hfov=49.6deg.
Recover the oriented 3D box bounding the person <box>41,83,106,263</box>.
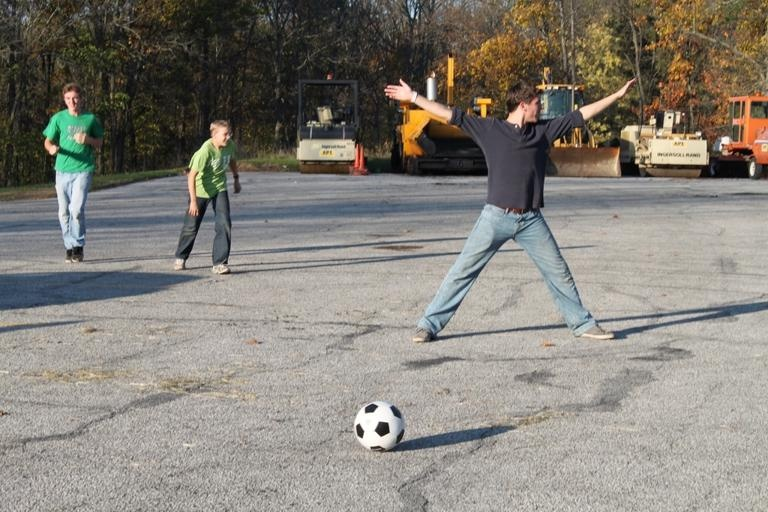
[{"bbox_3d":[-4.700,-1.220,12.441,0.796,2.609,0.860,2,4,23],"label":"person"}]

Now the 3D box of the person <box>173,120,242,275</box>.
[{"bbox_3d":[-2.442,-0.915,12.079,0.805,2.510,1.084,0,-1,-30],"label":"person"}]

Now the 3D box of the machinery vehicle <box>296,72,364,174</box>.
[{"bbox_3d":[-2.383,-5.648,36.406,3.259,4.253,3.358,-5,8,-28],"label":"machinery vehicle"}]

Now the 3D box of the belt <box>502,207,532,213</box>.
[{"bbox_3d":[1.366,-0.452,8.459,0.292,0.061,0.045,-4,12,-17],"label":"belt"}]

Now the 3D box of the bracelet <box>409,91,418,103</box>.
[{"bbox_3d":[0.289,-1.563,8.238,0.043,0.135,0.090,6,-8,-26],"label":"bracelet"}]

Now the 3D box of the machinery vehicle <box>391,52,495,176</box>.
[{"bbox_3d":[2.514,-5.893,36.556,3.589,4.891,6.628,1,9,-4],"label":"machinery vehicle"}]

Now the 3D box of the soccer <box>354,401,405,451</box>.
[{"bbox_3d":[-0.038,1.313,6.368,0.388,0.345,0.182,0,11,-2],"label":"soccer"}]
